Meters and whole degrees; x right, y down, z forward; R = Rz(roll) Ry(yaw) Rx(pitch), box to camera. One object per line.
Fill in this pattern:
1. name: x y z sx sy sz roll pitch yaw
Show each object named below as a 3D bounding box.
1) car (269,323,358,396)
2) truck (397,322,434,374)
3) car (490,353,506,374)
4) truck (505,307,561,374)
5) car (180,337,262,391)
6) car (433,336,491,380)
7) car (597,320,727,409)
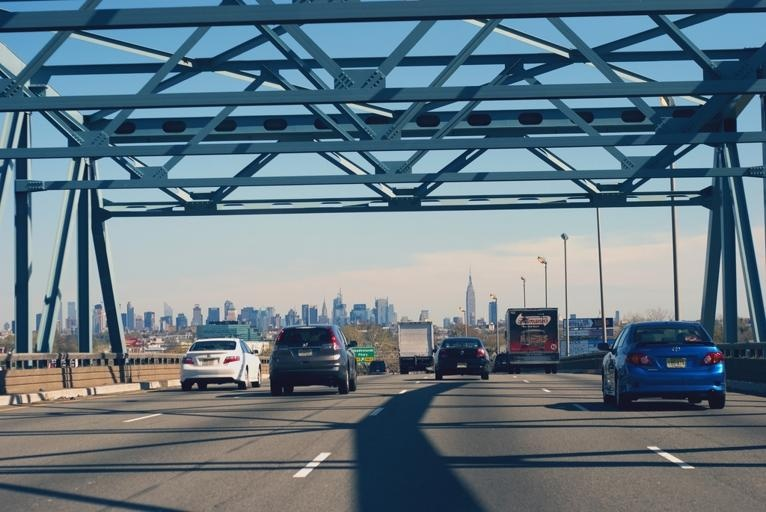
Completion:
1. car: -2.276 3.298 31.496 2.567 2.180 2.317 -1 -7 -7
2. truck: 2.255 6.252 69.464 2.856 2.663 5.072 0 -6 2
3. car: 8.500 7.748 73.168 1.261 0.983 2.220 0 0 8
4. truck: 7.444 5.034 56.896 3.370 3.579 5.377 1 -8 -17
5. car: -5.526 3.774 35.283 1.444 0.999 3.244 -1 -2 6
6. car: 3.285 4.298 41.721 2.209 1.782 1.302 -2 -6 4
7. car: 6.732 2.652 24.474 3.000 2.146 1.706 -8 -9 42
